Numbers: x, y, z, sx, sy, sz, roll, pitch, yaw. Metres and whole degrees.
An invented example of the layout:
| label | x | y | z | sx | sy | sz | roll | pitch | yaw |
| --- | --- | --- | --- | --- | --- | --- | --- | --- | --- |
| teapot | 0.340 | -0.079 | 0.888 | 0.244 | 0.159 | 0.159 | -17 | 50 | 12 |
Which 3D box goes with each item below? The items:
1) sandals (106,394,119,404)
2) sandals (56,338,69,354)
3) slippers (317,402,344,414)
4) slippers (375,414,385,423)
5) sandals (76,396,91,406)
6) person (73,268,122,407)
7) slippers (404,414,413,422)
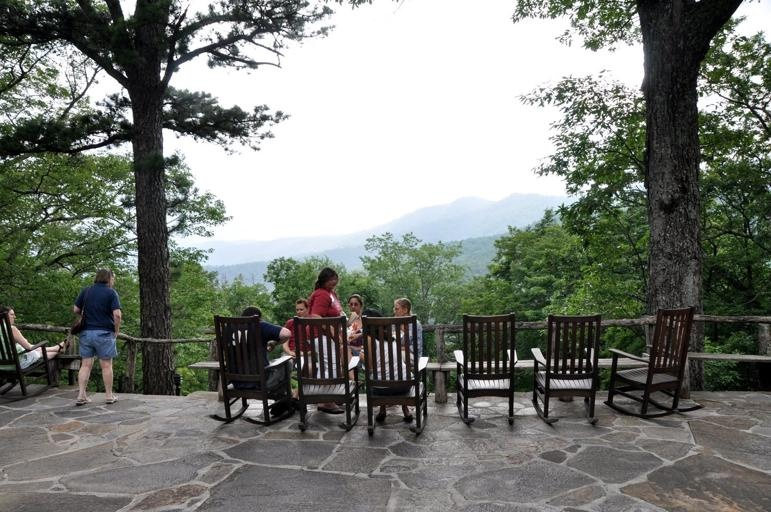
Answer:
| label | x | y | z | sx | sy | sz | roll | pitch | yaw |
| --- | --- | --- | --- | --- | --- | --- | --- | --- | --- |
| sandals | -5.311 | 2.776 | 11.958 | 0.117 | 0.110 | 0.267 | 0 | -4 | -4 |
| sandals | -6.726 | 1.894 | 12.948 | 0.144 | 0.374 | 0.105 | -27 | -33 | 32 |
| slippers | -1.009 | 2.774 | 11.402 | 0.565 | 0.210 | 0.207 | -6 | -4 | 31 |
| slippers | -0.088 | 2.895 | 10.994 | 0.177 | 0.150 | 0.172 | -2 | -3 | -2 |
| sandals | -5.819 | 2.802 | 11.918 | 0.108 | 0.111 | 0.265 | 2 | -3 | 3 |
| person | -5.542 | 1.572 | 11.894 | 0.787 | 2.560 | 0.820 | -1 | -3 | -26 |
| slippers | 0.411 | 2.898 | 10.985 | 0.175 | 0.120 | 0.129 | -1 | -3 | -4 |
